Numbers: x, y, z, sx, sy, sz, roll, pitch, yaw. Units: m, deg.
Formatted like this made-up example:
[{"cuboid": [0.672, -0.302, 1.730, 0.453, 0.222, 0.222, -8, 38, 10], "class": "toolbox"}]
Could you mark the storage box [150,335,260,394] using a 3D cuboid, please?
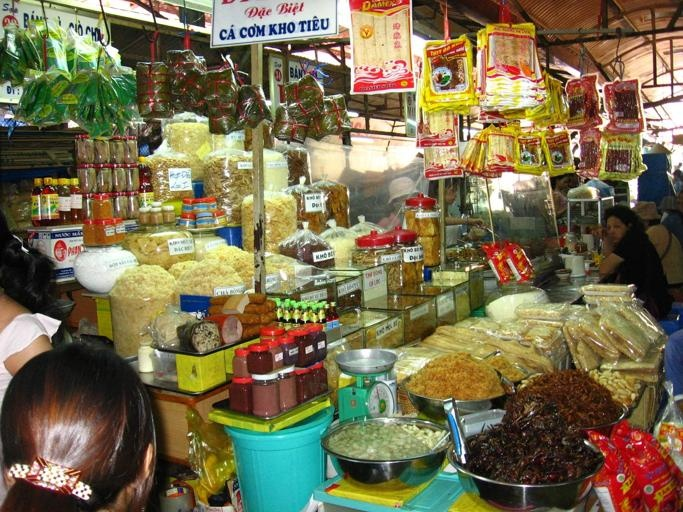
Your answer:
[{"cuboid": [-0.638, 0.407, 2.065, 0.292, 0.106, 0.290, 3, 5, 39], "class": "storage box"}]

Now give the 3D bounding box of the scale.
[{"cuboid": [0.079, 0.544, 2.041, 0.228, 0.239, 0.223, 7, 8, 11], "class": "scale"}]

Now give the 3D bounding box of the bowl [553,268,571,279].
[{"cuboid": [2.250, 0.180, 5.001, 0.120, 0.096, 0.290, 1, 9, 30], "class": "bowl"}]

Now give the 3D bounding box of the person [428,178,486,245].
[{"cuboid": [1.232, -0.519, 5.431, 0.513, 0.666, 1.374, -3, 8, 9], "class": "person"}]

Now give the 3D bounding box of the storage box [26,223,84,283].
[{"cuboid": [-2.126, -0.022, 3.594, 0.265, 0.384, 0.435, 5, 4, -6], "class": "storage box"}]

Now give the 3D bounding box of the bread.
[{"cuboid": [1.271, 0.312, 2.888, 0.820, 0.240, 0.776, -1, 5, 39], "class": "bread"}]

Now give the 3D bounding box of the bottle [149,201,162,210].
[{"cuboid": [-1.079, -0.292, 2.898, 0.074, 0.058, 0.067, 0, -14, -9], "class": "bottle"}]

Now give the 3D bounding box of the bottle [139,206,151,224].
[{"cuboid": [-1.125, -0.231, 2.835, 0.096, 0.090, 0.088, 0, 1, -5], "class": "bottle"}]

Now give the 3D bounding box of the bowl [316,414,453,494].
[{"cuboid": [0.172, 0.693, 1.755, 0.432, 0.139, 0.379, -1, 8, 16], "class": "bowl"}]

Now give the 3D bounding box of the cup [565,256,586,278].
[{"cuboid": [2.454, 0.113, 5.133, 0.220, 0.226, 0.248, -3, 8, 8], "class": "cup"}]

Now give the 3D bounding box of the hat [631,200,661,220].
[{"cuboid": [4.120, -0.577, 6.664, 0.431, 0.188, 0.549, -7, -4, 38], "class": "hat"}]

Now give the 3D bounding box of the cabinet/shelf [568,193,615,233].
[{"cuboid": [3.771, -0.630, 7.503, 0.629, 0.724, 1.129, 1, 5, 31], "class": "cabinet/shelf"}]

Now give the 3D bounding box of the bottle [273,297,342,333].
[{"cuboid": [-0.157, 0.237, 2.220, 0.190, 0.158, 0.194, 2, 3, 33], "class": "bottle"}]

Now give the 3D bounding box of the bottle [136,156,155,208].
[{"cuboid": [-1.274, -0.485, 3.218, 0.091, 0.303, 0.315, -7, 9, -21], "class": "bottle"}]

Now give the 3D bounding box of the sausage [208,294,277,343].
[{"cuboid": [-0.405, 0.255, 2.108, 0.252, 0.073, 0.201, 4, 9, 37], "class": "sausage"}]

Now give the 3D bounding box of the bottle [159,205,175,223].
[{"cuboid": [-0.998, -0.240, 2.866, 0.099, 0.095, 0.096, 0, 0, -39], "class": "bottle"}]

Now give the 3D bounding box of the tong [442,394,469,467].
[{"cuboid": [0.356, 0.548, 1.578, 0.080, 0.213, 0.058, -13, 0, 39], "class": "tong"}]
